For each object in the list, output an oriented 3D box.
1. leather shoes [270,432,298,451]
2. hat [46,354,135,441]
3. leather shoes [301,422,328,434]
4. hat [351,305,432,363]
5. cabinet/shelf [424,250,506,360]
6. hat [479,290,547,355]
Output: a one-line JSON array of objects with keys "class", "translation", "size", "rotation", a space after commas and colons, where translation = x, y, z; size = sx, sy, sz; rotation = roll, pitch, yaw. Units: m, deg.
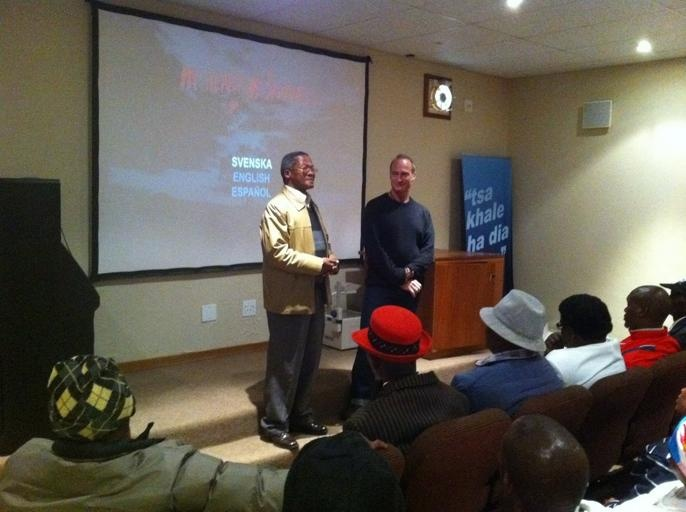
[{"class": "leather shoes", "translation": [-0.376, 1.176, 3.274], "size": [0.153, 0.067, 0.104], "rotation": [4, 2, 42]}, {"class": "hat", "translation": [-1.031, 0.537, 2.094], "size": [0.253, 0.343, 0.360], "rotation": [-1, 15, -7]}, {"class": "leather shoes", "translation": [-0.210, 1.160, 3.432], "size": [0.206, 0.095, 0.080], "rotation": [-5, -4, 30]}, {"class": "hat", "translation": [0.195, 0.413, 2.280], "size": [0.278, 0.112, 0.259], "rotation": [21, 34, 39]}, {"class": "cabinet/shelf", "translation": [1.106, 0.424, 5.274], "size": [0.873, 1.332, 0.862], "rotation": [-3, 5, -34]}, {"class": "hat", "translation": [0.874, 0.323, 2.555], "size": [0.296, 0.171, 0.318], "rotation": [5, 28, -35]}]
